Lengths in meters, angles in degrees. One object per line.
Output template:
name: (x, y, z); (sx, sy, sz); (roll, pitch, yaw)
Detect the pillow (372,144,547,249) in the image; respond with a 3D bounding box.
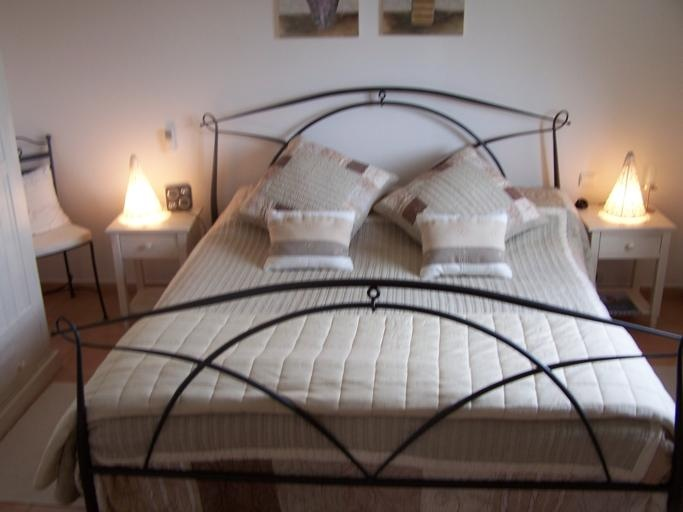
pillow: (0.655, -0.360, 3.076); (0.569, 0.195, 0.623); (-12, 41, -2)

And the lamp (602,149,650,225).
lamp: (1.737, -0.430, 3.274); (0.198, 0.372, 0.225); (8, 24, 24)

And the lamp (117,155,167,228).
lamp: (-1.297, -0.438, 3.453); (0.239, 0.347, 0.241); (-19, 33, -24)

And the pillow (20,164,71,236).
pillow: (-2.004, -0.349, 3.511); (0.108, 0.389, 0.383); (-9, 14, 23)

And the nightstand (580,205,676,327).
nightstand: (1.710, 0.041, 3.204); (0.498, 0.758, 0.484); (1, 36, 9)

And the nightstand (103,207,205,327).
nightstand: (-1.243, 0.079, 3.676); (0.649, 0.780, 0.648); (25, 32, 36)
